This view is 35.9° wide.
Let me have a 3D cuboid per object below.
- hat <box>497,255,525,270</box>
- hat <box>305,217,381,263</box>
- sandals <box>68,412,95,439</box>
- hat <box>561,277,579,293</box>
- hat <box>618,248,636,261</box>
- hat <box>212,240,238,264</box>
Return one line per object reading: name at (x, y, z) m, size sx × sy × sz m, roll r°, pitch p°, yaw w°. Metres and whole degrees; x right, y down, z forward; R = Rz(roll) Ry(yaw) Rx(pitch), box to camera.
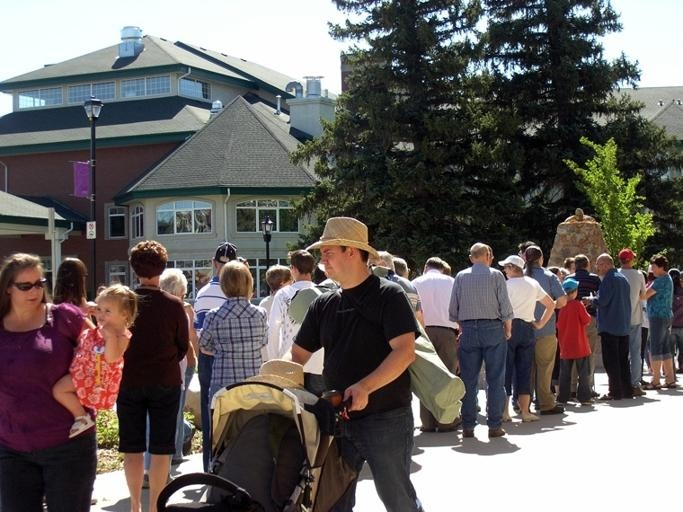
hat at (2.670, 0.086, 16.572) m, size 0.335 × 0.205 × 0.231 m, roll 4°, pitch -4°, yaw 11°
hat at (0.017, -0.179, 10.909) m, size 0.501 × 0.270 × 0.424 m, roll 10°, pitch -8°, yaw -20°
sandals at (-2.618, 1.677, 10.651) m, size 0.304 × 0.174 × 0.129 m, roll -36°, pitch 17°, yaw -13°
hat at (3.827, 0.499, 17.704) m, size 0.104 × 0.139 × 0.221 m, roll -42°, pitch -11°, yaw 33°
hat at (5.085, -0.078, 18.772) m, size 0.225 × 0.352 × 0.192 m, roll -14°, pitch -55°, yaw 35°
hat at (-1.581, -0.060, 14.421) m, size 0.202 × 0.206 × 0.340 m, roll 5°, pitch 13°, yaw -7°
